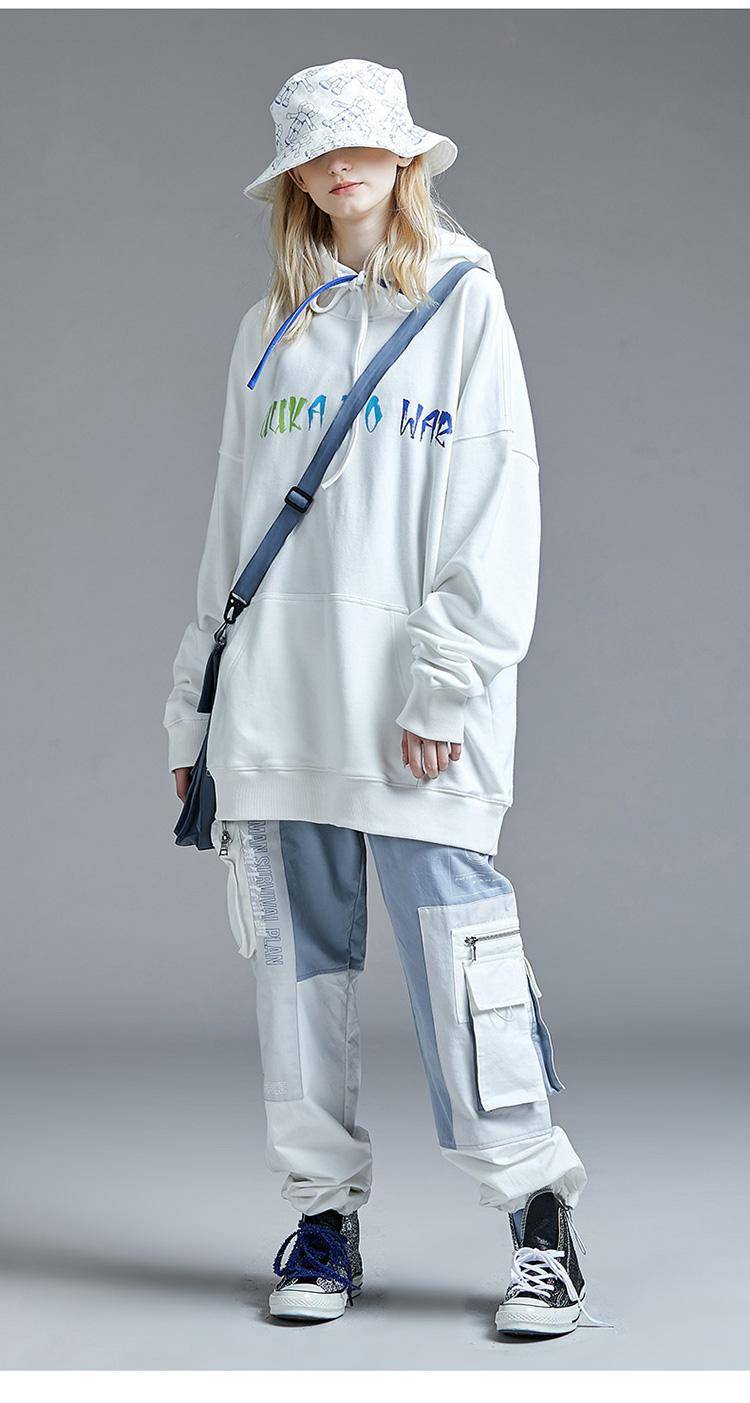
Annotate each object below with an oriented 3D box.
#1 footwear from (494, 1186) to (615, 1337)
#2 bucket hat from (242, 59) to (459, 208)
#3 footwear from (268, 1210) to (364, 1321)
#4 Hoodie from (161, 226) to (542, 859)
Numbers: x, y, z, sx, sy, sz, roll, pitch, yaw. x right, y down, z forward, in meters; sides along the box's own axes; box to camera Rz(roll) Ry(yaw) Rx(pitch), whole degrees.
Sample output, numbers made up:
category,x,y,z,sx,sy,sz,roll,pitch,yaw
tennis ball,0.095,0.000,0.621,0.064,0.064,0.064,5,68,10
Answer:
category,x,y,z,sx,sy,sz,roll,pitch,yaw
footwear,0.225,0.752,1.759,0.097,0.161,0.246,-13,-16,21
bucket hat,-0.040,-0.789,1.812,0.283,0.150,0.257,-7,7,-3
footwear,-0.075,0.794,1.867,0.117,0.133,0.309,-4,-19,7
Hoodie,-0.046,-0.211,1.837,0.549,0.850,0.349,-6,-22,8
